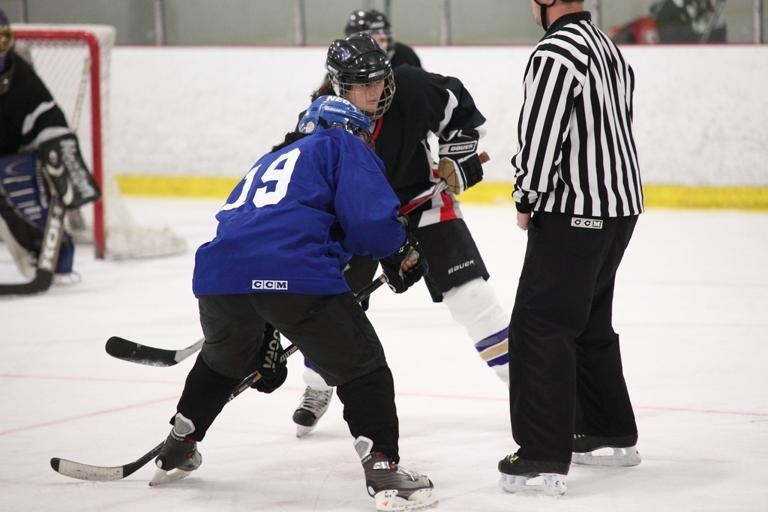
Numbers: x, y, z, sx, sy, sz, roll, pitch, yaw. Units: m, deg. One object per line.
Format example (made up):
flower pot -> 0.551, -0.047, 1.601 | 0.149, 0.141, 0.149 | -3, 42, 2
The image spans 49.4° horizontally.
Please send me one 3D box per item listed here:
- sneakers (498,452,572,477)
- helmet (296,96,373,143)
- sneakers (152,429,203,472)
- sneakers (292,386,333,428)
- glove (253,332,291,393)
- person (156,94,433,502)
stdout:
sneakers -> 0.575, 0.806, 3.202 | 0.276, 0.114, 0.095 | 3, -20, 6
helmet -> -0.179, -0.491, 3.144 | 0.223, 0.164, 0.174 | 12, 5, -5
sneakers -> -0.803, 0.728, 3.292 | 0.187, 0.180, 0.129 | -5, 22, -39
sneakers -> -0.322, 0.659, 3.661 | 0.085, 0.091, 0.239 | 13, 13, -1
glove -> -0.451, 0.428, 3.362 | 0.085, 0.222, 0.162 | 8, -10, 6
person -> -0.328, 0.159, 3.114 | 1.021, 1.467, 0.537 | 0, 14, 3
